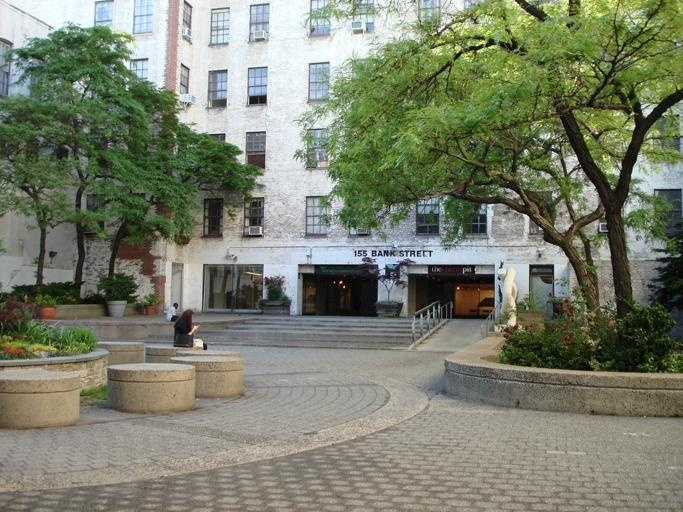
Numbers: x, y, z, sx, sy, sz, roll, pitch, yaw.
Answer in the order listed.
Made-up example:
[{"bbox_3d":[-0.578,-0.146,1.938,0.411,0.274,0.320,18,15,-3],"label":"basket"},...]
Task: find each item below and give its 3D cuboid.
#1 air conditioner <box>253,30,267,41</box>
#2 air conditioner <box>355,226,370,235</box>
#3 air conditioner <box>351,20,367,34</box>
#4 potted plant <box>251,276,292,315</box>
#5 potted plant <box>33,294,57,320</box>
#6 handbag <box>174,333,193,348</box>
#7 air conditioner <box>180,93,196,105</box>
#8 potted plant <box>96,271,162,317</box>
[{"bbox_3d":[-4.862,-13.170,38.644,0.802,0.546,0.462,0,-1,12],"label":"air conditioner"},{"bbox_3d":[1.174,-1.315,36.040,1.027,0.479,0.653,0,-4,6],"label":"air conditioner"},{"bbox_3d":[0.977,-13.164,37.120,0.807,0.574,0.597,0,-1,1],"label":"air conditioner"},{"bbox_3d":[-3.732,2.346,37.444,2.336,2.850,1.995,1,0,5],"label":"potted plant"},{"bbox_3d":[-12.376,2.183,27.103,0.805,1.100,2.389,1,-1,-23],"label":"potted plant"},{"bbox_3d":[-3.920,2.116,16.080,0.366,0.238,0.354,-1,-4,4],"label":"handbag"},{"bbox_3d":[-9.146,-9.292,38.488,0.514,0.635,0.877,0,-1,38],"label":"air conditioner"},{"bbox_3d":[-10.898,2.019,32.991,2.618,1.911,2.446,6,-6,-23],"label":"potted plant"}]
